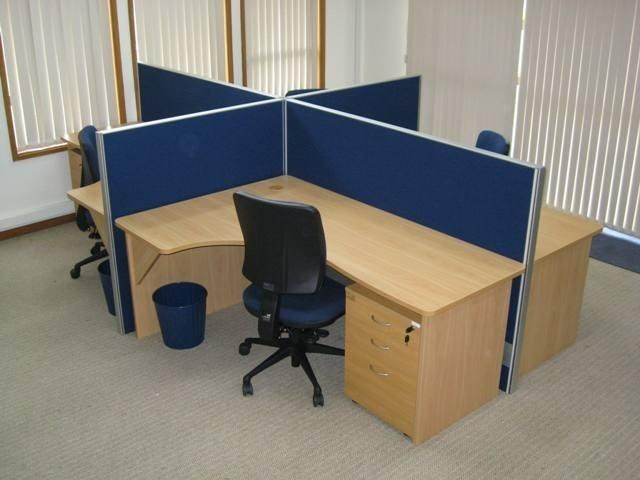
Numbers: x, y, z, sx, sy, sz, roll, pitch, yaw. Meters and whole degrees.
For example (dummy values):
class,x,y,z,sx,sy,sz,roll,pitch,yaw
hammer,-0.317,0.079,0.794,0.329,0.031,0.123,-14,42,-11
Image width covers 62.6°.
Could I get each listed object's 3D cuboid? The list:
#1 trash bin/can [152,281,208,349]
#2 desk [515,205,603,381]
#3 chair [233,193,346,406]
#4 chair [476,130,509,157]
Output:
class,x,y,z,sx,sy,sz,roll,pitch,yaw
trash bin/can,-0.993,0.533,3.841,0.396,0.358,0.448,-3,23,-8
desk,1.503,0.374,3.512,0.355,0.913,0.732,24,35,38
chair,-0.182,0.283,3.307,0.731,1.220,0.815,7,21,17
chair,1.401,-0.783,4.265,0.145,0.168,0.434,-1,27,-4
